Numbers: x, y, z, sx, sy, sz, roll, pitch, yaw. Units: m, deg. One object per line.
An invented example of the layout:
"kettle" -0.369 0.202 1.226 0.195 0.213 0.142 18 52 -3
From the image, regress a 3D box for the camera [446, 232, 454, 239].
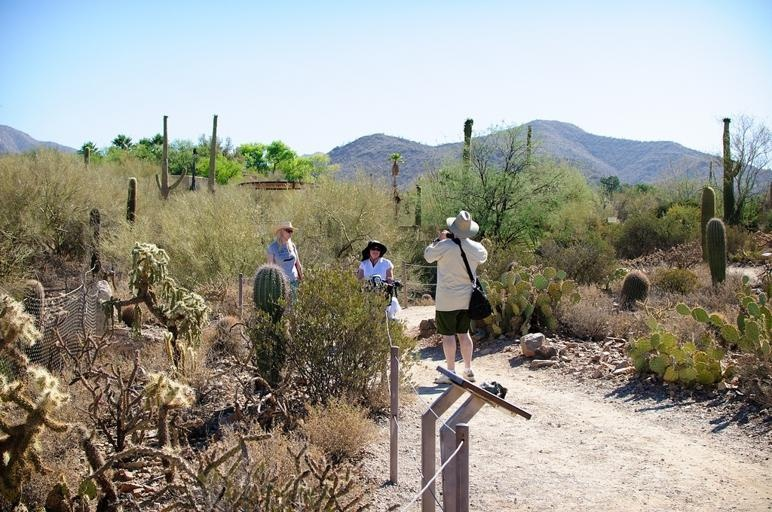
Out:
"camera" 0.905 -0.288 9.985 0.063 0.102 0.093 1 -1 -5

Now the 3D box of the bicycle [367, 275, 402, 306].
"bicycle" -0.030 0.537 10.576 0.465 0.349 0.358 0 4 0

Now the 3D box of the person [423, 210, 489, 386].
"person" 0.948 0.584 9.828 0.796 2.363 0.590 4 11 8

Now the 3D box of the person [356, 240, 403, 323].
"person" -0.117 0.298 10.656 0.665 0.745 1.092 -1 -4 -5

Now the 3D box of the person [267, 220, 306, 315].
"person" -1.654 -0.006 11.384 0.550 0.961 1.349 1 13 -7
